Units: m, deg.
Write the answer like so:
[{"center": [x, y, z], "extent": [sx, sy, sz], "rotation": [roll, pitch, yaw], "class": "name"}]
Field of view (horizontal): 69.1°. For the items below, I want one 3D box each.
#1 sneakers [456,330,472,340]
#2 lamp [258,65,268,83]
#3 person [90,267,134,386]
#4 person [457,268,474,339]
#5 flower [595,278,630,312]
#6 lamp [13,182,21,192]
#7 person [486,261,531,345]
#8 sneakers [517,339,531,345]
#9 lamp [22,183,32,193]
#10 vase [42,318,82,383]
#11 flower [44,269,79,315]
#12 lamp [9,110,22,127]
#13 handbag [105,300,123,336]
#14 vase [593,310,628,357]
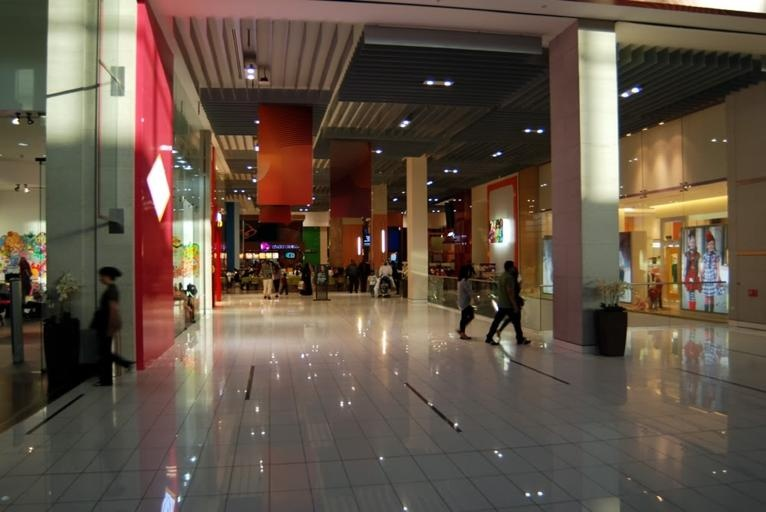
[{"center": [1.677, 1.645, 11.660], "extent": [0.146, 0.181, 0.449], "rotation": [1, -7, -1], "class": "sneakers"}, {"center": [-2.724, -4.207, 12.769], "extent": [0.233, 0.245, 0.440], "rotation": [-1, 6, -5], "class": "lamp"}, {"center": [-4.066, 0.995, 8.318], "extent": [0.465, 1.728, 0.580], "rotation": [-3, 7, -23], "class": "person"}, {"center": [1.743, 0.936, 11.761], "extent": [0.299, 1.617, 1.013], "rotation": [1, 7, 8], "class": "person"}, {"center": [4.132, 0.683, 10.095], "extent": [0.536, 0.584, 0.458], "rotation": [1, -4, -6], "class": "flower"}, {"center": [-7.418, -1.413, 11.358], "extent": [0.118, 0.161, 0.985], "rotation": [-5, 9, -33], "class": "lamp"}, {"center": [2.489, 0.862, 11.053], "extent": [0.950, 1.708, 0.888], "rotation": [-4, 8, -33], "class": "person"}, {"center": [2.754, 1.672, 10.893], "extent": [0.264, 0.126, 0.094], "rotation": [-1, 0, -9], "class": "sneakers"}, {"center": [-6.990, -1.364, 10.971], "extent": [0.107, 0.115, 0.111], "rotation": [0, -2, 11], "class": "lamp"}, {"center": [-4.554, 1.370, 8.008], "extent": [0.354, 0.998, 0.517], "rotation": [5, 9, 41], "class": "vase"}, {"center": [-4.691, 0.554, 8.164], "extent": [0.299, 0.586, 0.461], "rotation": [6, 9, 42], "class": "flower"}, {"center": [-5.300, -2.002, 8.088], "extent": [0.193, 0.202, 0.131], "rotation": [8, -2, 20], "class": "lamp"}, {"center": [-4.001, 0.925, 8.341], "extent": [0.132, 0.614, 0.566], "rotation": [-3, 7, -22], "class": "handbag"}, {"center": [3.977, 1.313, 9.759], "extent": [0.484, 0.847, 0.322], "rotation": [1, 7, 14], "class": "vase"}]
